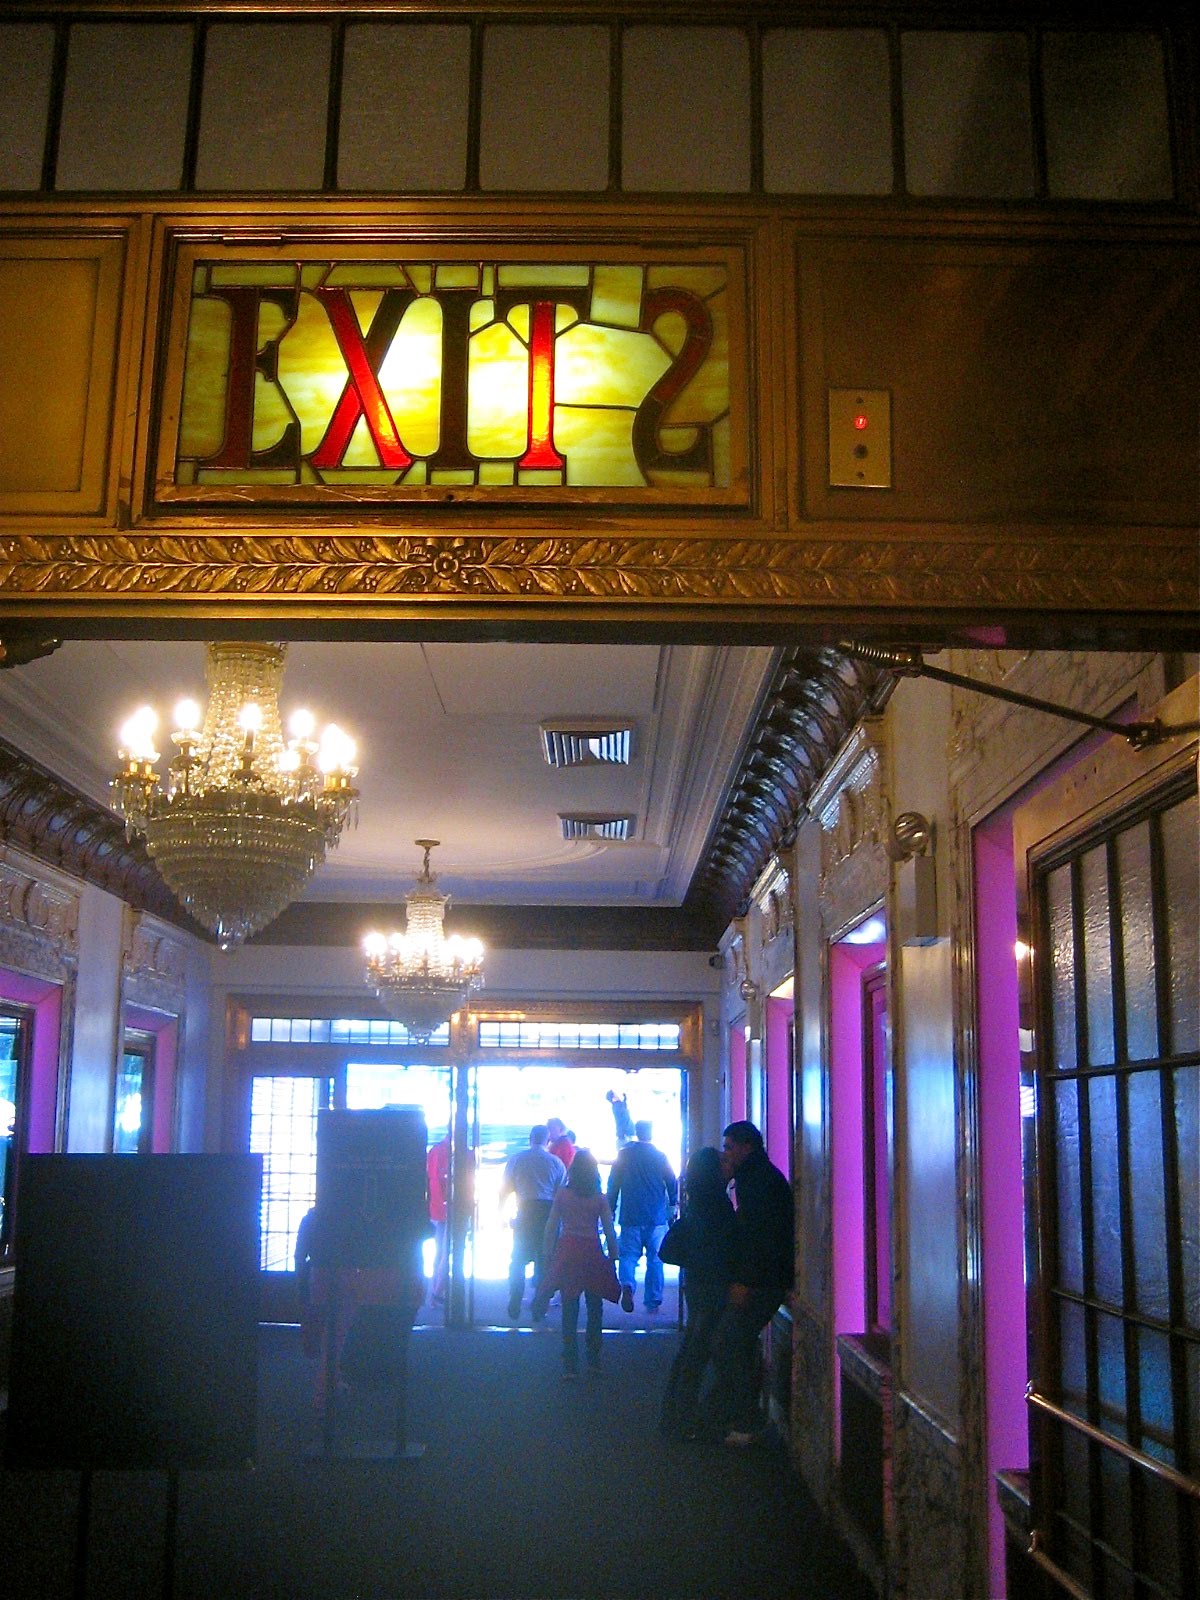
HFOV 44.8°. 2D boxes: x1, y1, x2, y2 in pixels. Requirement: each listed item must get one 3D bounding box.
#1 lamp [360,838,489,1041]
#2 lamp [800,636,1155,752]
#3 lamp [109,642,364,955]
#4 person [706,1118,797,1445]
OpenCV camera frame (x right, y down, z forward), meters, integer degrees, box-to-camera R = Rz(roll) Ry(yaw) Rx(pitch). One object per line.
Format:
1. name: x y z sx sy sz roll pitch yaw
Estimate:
1. lamp: -1.140 0.887 9.456 0.762 1.284 0.752 7 -10 -44
2. lamp: 0.845 -0.238 3.276 0.736 0.106 0.168 22 -39 -7
3. lamp: -1.345 0.118 5.374 0.966 1.525 1.014 3 -7 -15
4. person: 0.776 2.465 7.365 0.367 1.622 0.533 2 -1 5
